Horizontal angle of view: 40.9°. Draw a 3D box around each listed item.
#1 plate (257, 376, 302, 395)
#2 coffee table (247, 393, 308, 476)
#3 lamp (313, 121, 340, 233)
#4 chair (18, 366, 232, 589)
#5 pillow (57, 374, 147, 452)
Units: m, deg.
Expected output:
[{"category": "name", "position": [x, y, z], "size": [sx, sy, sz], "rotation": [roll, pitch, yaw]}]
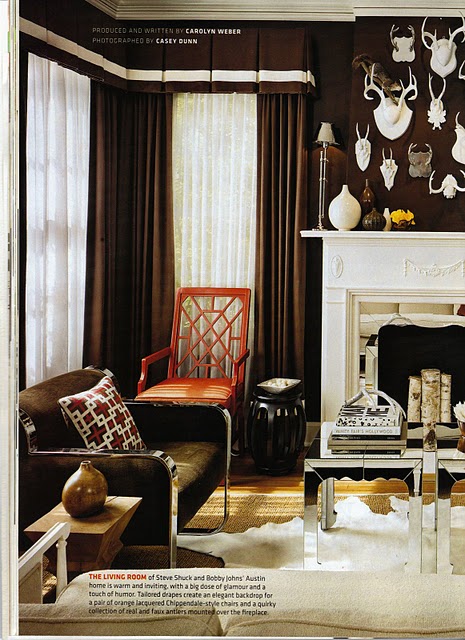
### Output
[{"category": "plate", "position": [0.230, 0.288, 2.750], "size": [0.149, 0.070, 0.221], "rotation": [-10, -7, 42]}, {"category": "coffee table", "position": [0.187, 0.484, 2.687], "size": [0.296, 0.396, 0.299], "rotation": [0, -2, -1]}, {"category": "lamp", "position": [0.449, -0.662, 2.986], "size": [0.131, 0.464, 0.353], "rotation": [-6, -5, 9]}, {"category": "chair", "position": [-0.319, 0.509, 1.948], "size": [0.530, 0.604, 0.692], "rotation": [1, 4, 8]}, {"category": "pillow", "position": [-0.377, 0.280, 1.775], "size": [0.063, 0.214, 0.218], "rotation": [-25, -8, 21]}]
